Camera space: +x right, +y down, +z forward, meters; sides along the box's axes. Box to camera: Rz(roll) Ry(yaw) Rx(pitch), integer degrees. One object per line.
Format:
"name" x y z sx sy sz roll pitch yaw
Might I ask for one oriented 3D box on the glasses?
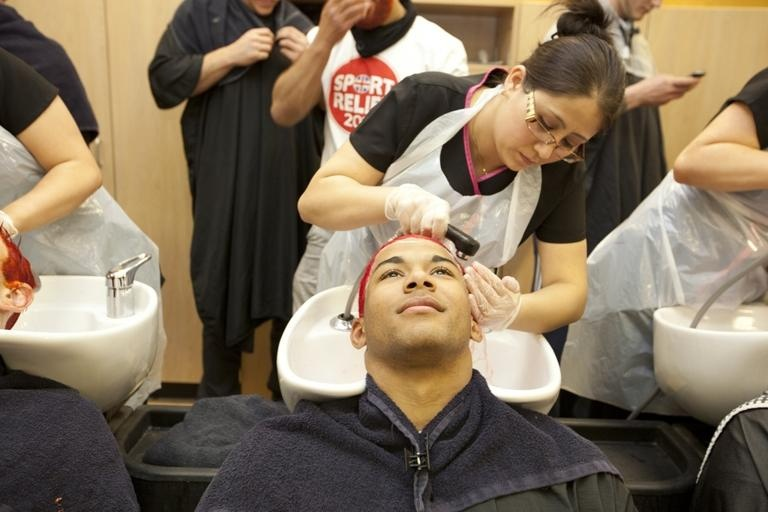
"glasses" 0.437 -0.322 1.770 0.049 0.168 0.179 -26 54 22

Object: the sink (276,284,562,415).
"sink" 0.112 0.280 1.809 0.521 0.224 0.421 25 32 26
